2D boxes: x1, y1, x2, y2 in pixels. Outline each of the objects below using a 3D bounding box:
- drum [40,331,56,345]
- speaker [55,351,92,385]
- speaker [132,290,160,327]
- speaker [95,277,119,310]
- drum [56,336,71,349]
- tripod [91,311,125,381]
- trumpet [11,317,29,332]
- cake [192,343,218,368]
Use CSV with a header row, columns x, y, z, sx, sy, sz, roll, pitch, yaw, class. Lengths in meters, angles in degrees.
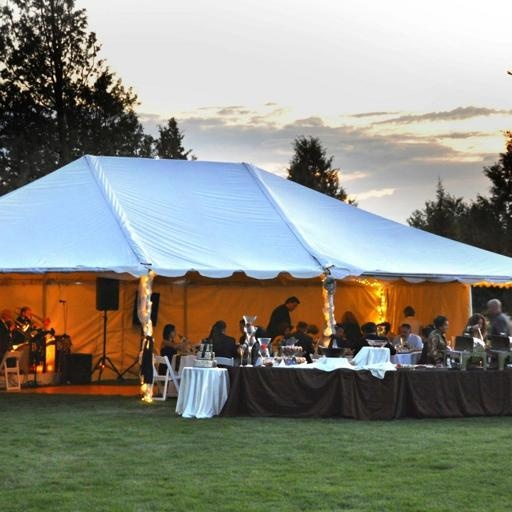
x,y,z,sx,sy,sz,roll,pitch,yaw,class
-3.789,1.509,23.470,0.209,0.189,0.355,5,-1,-16,drum
-3.334,2.071,23.660,0.642,0.584,0.482,-1,14,-1,speaker
-2.097,1.058,24.547,0.522,0.695,0.711,-1,14,-1,speaker
-2.732,0.725,23.816,0.519,0.680,0.388,-6,15,-21,speaker
-3.539,1.620,23.753,0.250,0.228,0.245,4,-1,-9,drum
-2.807,1.670,24.094,0.540,1.417,1.039,-3,14,-7,tripod
-4.267,1.271,23.404,0.249,0.173,0.250,-1,0,37,trumpet
-0.744,1.516,19.313,0.352,0.320,0.328,-1,-4,11,cake
